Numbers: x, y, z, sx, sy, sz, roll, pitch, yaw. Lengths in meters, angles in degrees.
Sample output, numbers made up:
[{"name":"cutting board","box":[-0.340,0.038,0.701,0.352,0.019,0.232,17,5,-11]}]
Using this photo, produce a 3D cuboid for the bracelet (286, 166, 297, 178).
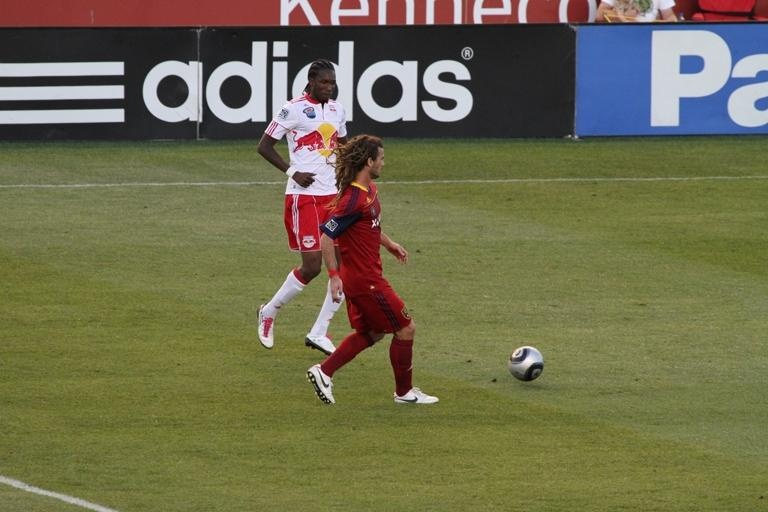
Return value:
[{"name":"bracelet","box":[-1.260,-1.095,24.132,0.103,0.137,0.140,38,49,4]}]

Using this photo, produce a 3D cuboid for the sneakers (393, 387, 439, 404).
[{"name":"sneakers","box":[0.417,1.766,22.795,0.604,0.229,0.204,-1,-1,-1]}]

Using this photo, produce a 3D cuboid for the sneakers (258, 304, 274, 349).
[{"name":"sneakers","box":[-1.592,0.942,23.894,0.204,0.577,0.253,-6,-11,-36]}]

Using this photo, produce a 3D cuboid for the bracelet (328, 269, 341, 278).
[{"name":"bracelet","box":[-0.617,0.221,22.597,0.115,0.083,0.089,6,-3,-27]}]

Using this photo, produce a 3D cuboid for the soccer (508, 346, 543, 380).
[{"name":"soccer","box":[1.828,1.385,23.070,0.436,0.433,0.235,0,6,0]}]
